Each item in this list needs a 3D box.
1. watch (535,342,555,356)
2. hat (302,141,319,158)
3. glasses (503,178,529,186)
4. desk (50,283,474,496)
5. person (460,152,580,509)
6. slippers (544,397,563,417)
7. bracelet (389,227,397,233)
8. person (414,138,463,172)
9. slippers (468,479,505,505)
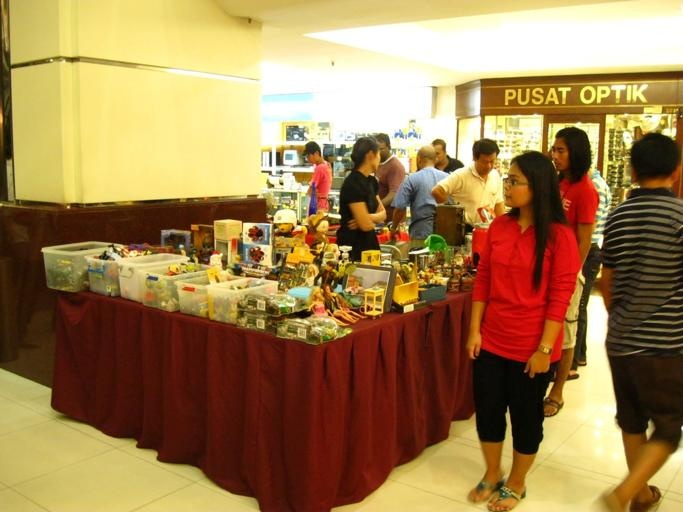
[{"bbox_3d":[1.016,0.469,2.681,0.070,0.047,0.071,13,0,-8],"label":"watch"},{"bbox_3d":[-0.415,-1.462,7.370,0.171,0.220,0.226,5,13,24],"label":"hat"},{"bbox_3d":[0.880,-0.387,2.767,0.075,0.043,0.188,-2,11,-10],"label":"glasses"},{"bbox_3d":[-0.539,0.782,3.279,1.511,0.590,1.530,7,10,28],"label":"desk"},{"bbox_3d":[0.941,0.438,2.830,0.512,1.944,0.234,4,11,24],"label":"person"},{"bbox_3d":[1.618,1.131,4.085,0.108,0.073,0.263,3,6,40],"label":"slippers"},{"bbox_3d":[0.538,-0.274,5.514,0.045,0.034,0.046,4,21,5],"label":"bracelet"},{"bbox_3d":[1.351,-1.315,7.191,0.696,0.547,0.385,11,31,43],"label":"person"},{"bbox_3d":[0.825,1.328,3.068,0.234,0.073,0.092,-3,-5,-45],"label":"slippers"}]
